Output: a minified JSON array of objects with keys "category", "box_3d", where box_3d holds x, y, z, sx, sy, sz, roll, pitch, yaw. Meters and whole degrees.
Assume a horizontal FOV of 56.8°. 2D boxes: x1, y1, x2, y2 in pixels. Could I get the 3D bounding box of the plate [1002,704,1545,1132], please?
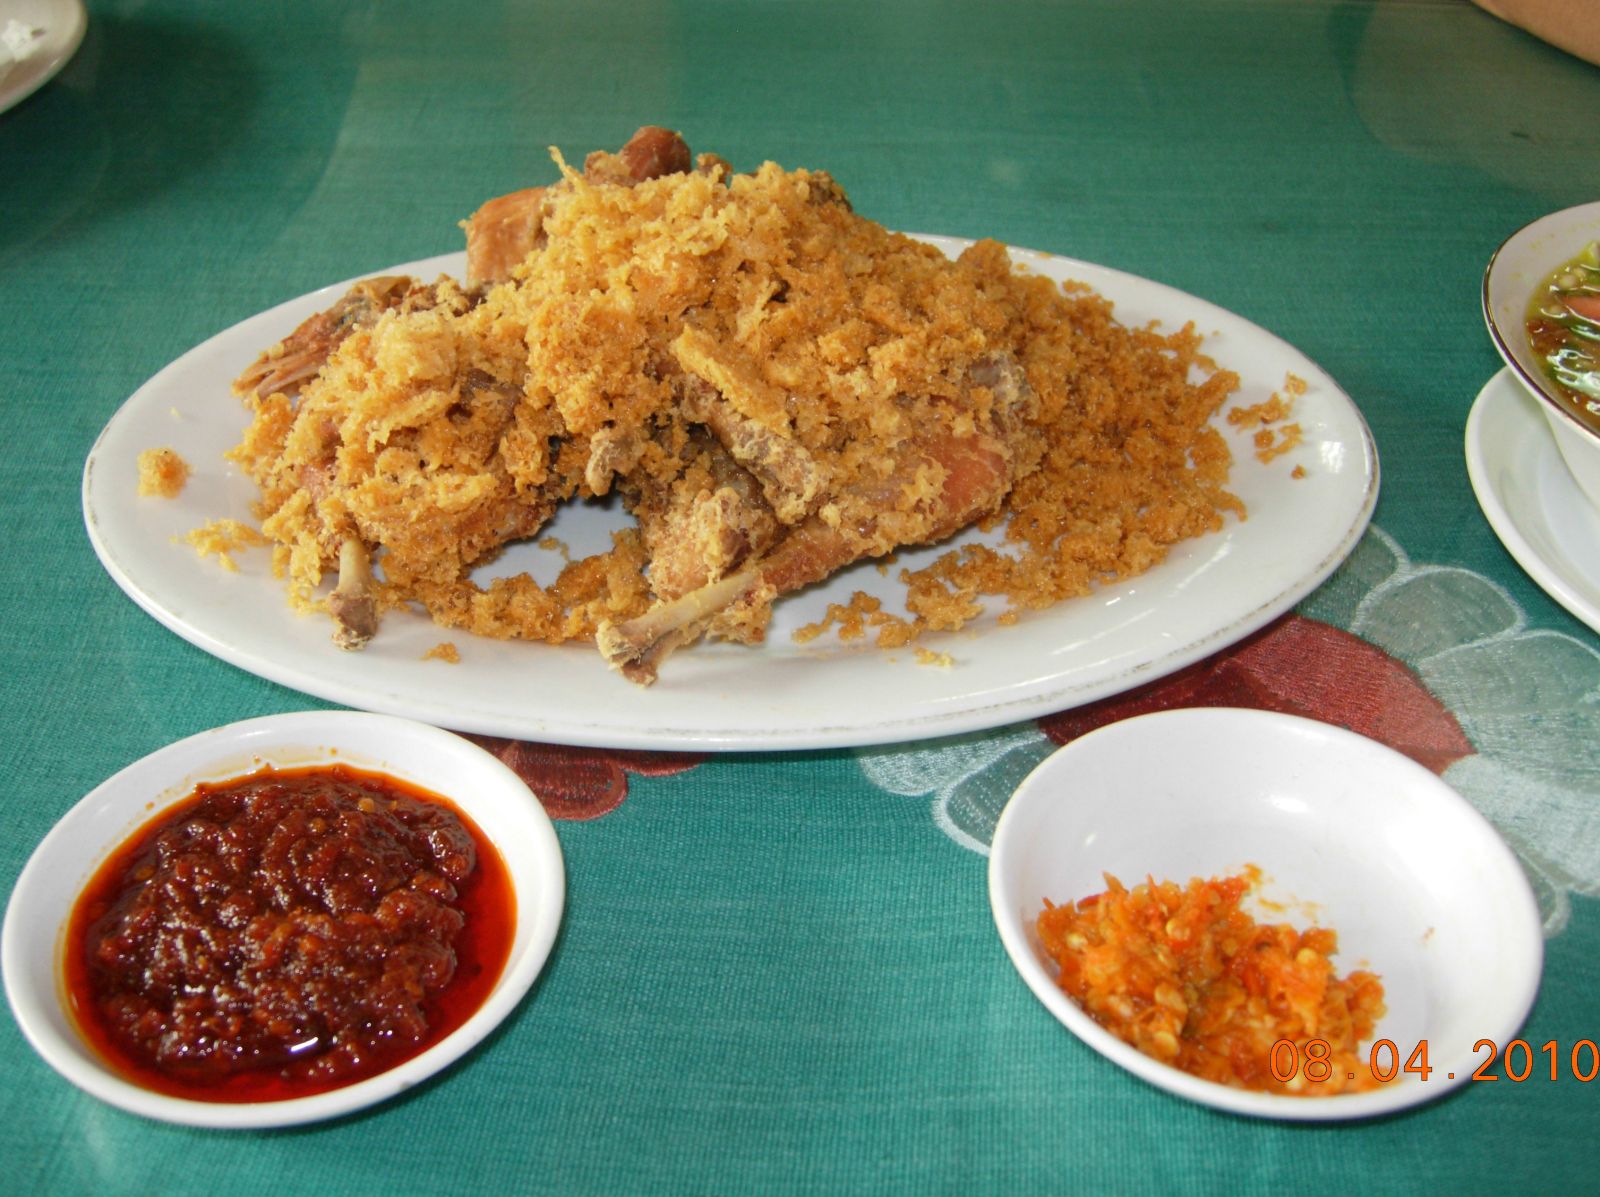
[{"category":"plate","box_3d":[0.804,0.528,2.614,0.910,0.191,0.780,27,63,11]}]
